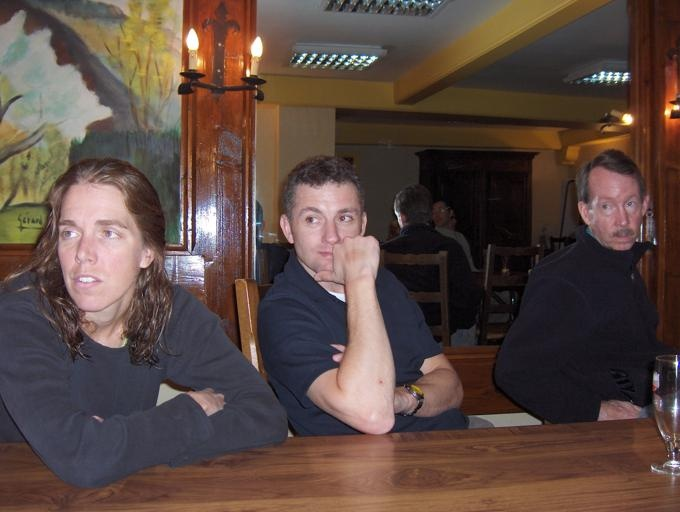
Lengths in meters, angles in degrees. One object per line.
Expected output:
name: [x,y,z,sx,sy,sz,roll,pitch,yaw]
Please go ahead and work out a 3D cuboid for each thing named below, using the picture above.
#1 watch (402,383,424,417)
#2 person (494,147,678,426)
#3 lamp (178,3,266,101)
watch: [0.231,0.449,1.844,0.065,0.084,0.063,-3,7,-12]
person: [1.107,0.092,2.453,1.130,0.991,0.620,-13,16,-43]
lamp: [-0.770,-1.284,3.705,0.617,0.591,0.316,-5,19,-23]
